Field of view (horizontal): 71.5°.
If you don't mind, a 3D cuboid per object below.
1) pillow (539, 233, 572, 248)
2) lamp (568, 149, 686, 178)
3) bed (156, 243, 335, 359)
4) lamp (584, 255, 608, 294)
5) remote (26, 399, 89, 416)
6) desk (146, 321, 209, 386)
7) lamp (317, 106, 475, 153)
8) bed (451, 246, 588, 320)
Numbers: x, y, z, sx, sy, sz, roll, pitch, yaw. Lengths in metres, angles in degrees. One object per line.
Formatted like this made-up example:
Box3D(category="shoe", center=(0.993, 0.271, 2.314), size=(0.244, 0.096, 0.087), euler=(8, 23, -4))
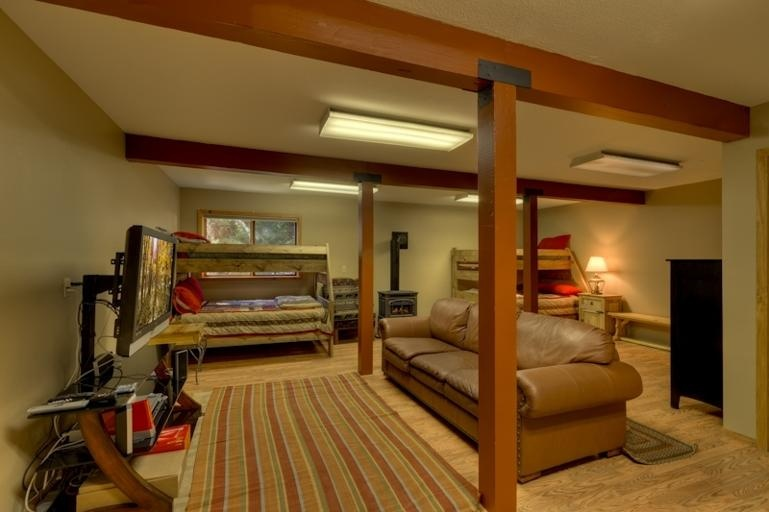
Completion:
Box3D(category="pillow", center=(3.100, -0.275, 9.826), size=(0.607, 0.238, 0.246), euler=(1, 0, 43))
Box3D(category="lamp", center=(2.971, -1.150, 6.580), size=(1.382, 0.268, 0.565), euler=(1, 0, -21))
Box3D(category="bed", center=(-1.751, 0.599, 7.713), size=(2.224, 1.685, 1.557), euler=(0, -2, -22))
Box3D(category="lamp", center=(3.575, 0.309, 8.976), size=(0.318, 0.610, 0.615), euler=(1, 0, 9))
Box3D(category="remote", center=(-2.359, 1.108, 3.879), size=(0.399, 0.111, 0.124), euler=(1, 0, -6))
Box3D(category="desk", center=(-2.139, 1.001, 5.486), size=(0.542, 0.436, 0.898), euler=(-1, 2, -19))
Box3D(category="lamp", center=(0.110, -1.290, 5.452), size=(1.505, 0.258, 0.526), euler=(1, 0, -18))
Box3D(category="bed", center=(2.457, 0.430, 9.393), size=(2.233, 1.737, 1.267), euler=(1, -3, -19))
